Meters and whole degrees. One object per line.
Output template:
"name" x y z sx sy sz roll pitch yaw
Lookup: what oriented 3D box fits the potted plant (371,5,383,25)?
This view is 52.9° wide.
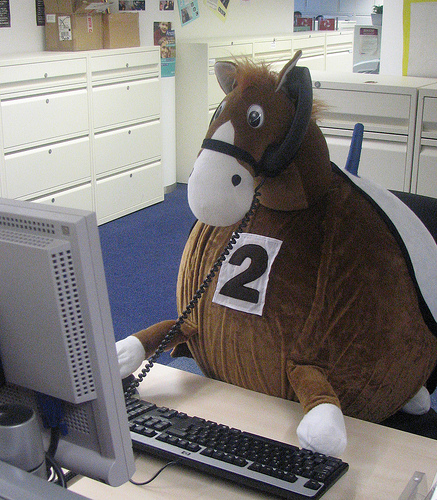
"potted plant" 2.205 -3.239 6.069 0.126 0.282 0.303 7 20 20
